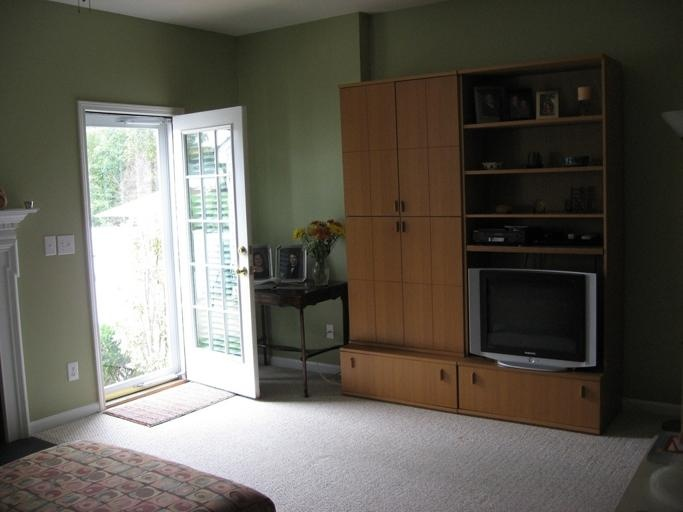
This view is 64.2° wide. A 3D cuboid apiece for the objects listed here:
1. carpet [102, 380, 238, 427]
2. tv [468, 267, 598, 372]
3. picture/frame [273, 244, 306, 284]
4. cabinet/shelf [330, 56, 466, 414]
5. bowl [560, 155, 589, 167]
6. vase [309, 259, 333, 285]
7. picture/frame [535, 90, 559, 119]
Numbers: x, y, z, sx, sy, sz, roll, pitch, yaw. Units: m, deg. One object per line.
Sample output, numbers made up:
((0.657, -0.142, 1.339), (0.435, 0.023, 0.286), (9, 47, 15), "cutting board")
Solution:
((-1.530, 1.288, 4.786), (0.686, 0.029, 0.949), (8, 15, 44), "carpet")
((1.463, 0.480, 4.080), (0.770, 0.627, 0.286), (1, 0, 25), "tv")
((-0.506, 0.080, 5.292), (0.363, 0.432, 0.059), (0, -1, 23), "picture/frame")
((0.494, -0.324, 4.551), (1.075, 2.243, 0.434), (1, 11, 16), "cabinet/shelf")
((1.799, -0.717, 4.128), (0.166, 0.067, 0.130), (0, 1, -22), "bowl")
((-0.224, 0.145, 5.258), (0.217, 0.356, 0.240), (1, 5, 5), "vase")
((1.593, -1.169, 4.192), (0.158, 0.210, 0.161), (1, 11, 17), "picture/frame")
